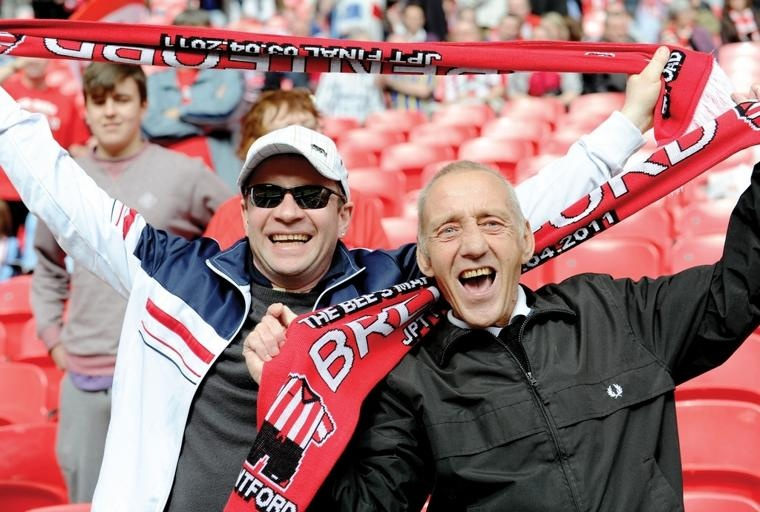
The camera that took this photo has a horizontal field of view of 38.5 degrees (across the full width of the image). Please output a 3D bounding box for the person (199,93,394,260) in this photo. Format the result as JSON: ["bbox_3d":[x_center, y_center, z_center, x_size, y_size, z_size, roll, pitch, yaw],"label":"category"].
[{"bbox_3d":[-0.449,-0.432,6.144,1.194,0.885,1.428,-5,1,-11],"label":"person"}]
